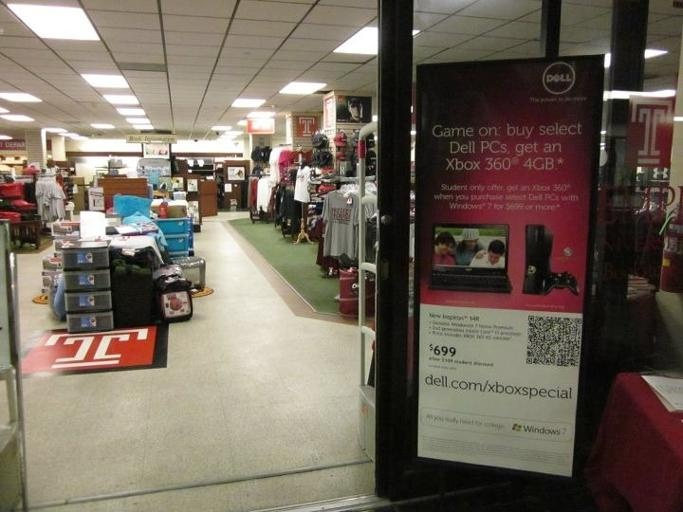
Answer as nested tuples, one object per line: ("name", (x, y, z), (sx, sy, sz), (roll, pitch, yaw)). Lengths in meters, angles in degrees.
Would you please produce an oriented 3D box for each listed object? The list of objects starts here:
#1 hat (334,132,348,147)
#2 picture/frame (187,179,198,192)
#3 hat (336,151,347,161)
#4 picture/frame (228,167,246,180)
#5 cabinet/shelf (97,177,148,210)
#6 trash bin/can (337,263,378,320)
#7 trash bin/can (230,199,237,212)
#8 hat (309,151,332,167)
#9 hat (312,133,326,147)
("hat", (-0.017, -2.345, 10.314), (0.225, 0.287, 0.297), (-9, 21, -28))
("picture/frame", (-4.079, -1.951, 14.031), (0.338, 0.309, 0.077), (7, -6, -3))
("hat", (0.004, -1.989, 10.125), (0.217, 0.183, 0.208), (0, 12, -2))
("picture/frame", (-4.235, -3.328, 20.622), (0.702, 0.539, 0.177), (-3, 12, -14))
("cabinet/shelf", (-3.845, -1.118, 9.368), (1.106, 0.607, 1.055), (0, 8, -16))
("trash bin/can", (0.137, 0.376, 5.535), (0.574, 0.632, 0.569), (1, 2, 3))
("trash bin/can", (-4.382, -2.100, 20.738), (0.551, 0.515, 0.316), (-1, 3, -11))
("hat", (-0.379, -1.993, 10.487), (0.389, 0.320, 0.214), (-3, 13, -17))
("hat", (-0.445, -2.378, 10.539), (0.227, 0.304, 0.102), (9, -6, 9))
